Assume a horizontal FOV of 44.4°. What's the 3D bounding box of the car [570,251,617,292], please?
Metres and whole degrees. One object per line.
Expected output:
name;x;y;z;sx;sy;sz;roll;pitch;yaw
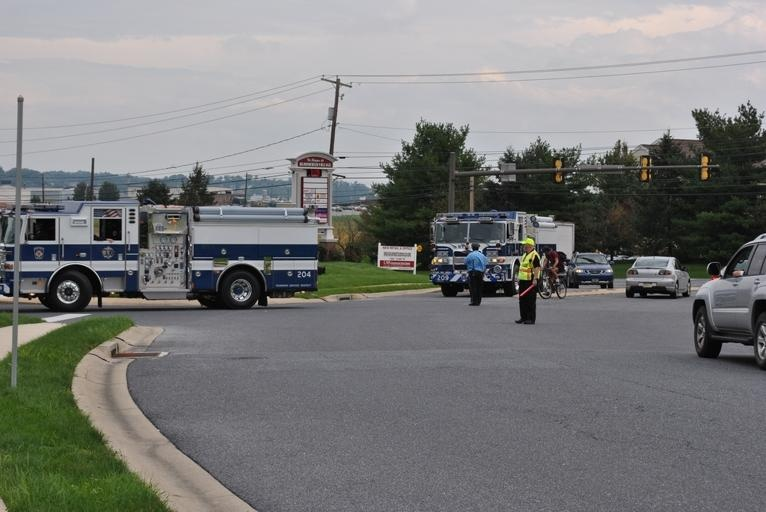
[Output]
car;10.645;0.834;47.995;2.136;1.767;2.330;2;4;11

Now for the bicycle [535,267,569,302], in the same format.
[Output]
bicycle;6.719;1.213;37.407;0.821;0.992;1.681;-3;-5;37

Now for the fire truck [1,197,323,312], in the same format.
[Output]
fire truck;-6.458;0.011;28.204;8.316;3.304;0.967;0;4;-20

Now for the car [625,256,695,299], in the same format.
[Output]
car;11.775;0.847;40.144;2.217;1.572;4.909;1;1;28
